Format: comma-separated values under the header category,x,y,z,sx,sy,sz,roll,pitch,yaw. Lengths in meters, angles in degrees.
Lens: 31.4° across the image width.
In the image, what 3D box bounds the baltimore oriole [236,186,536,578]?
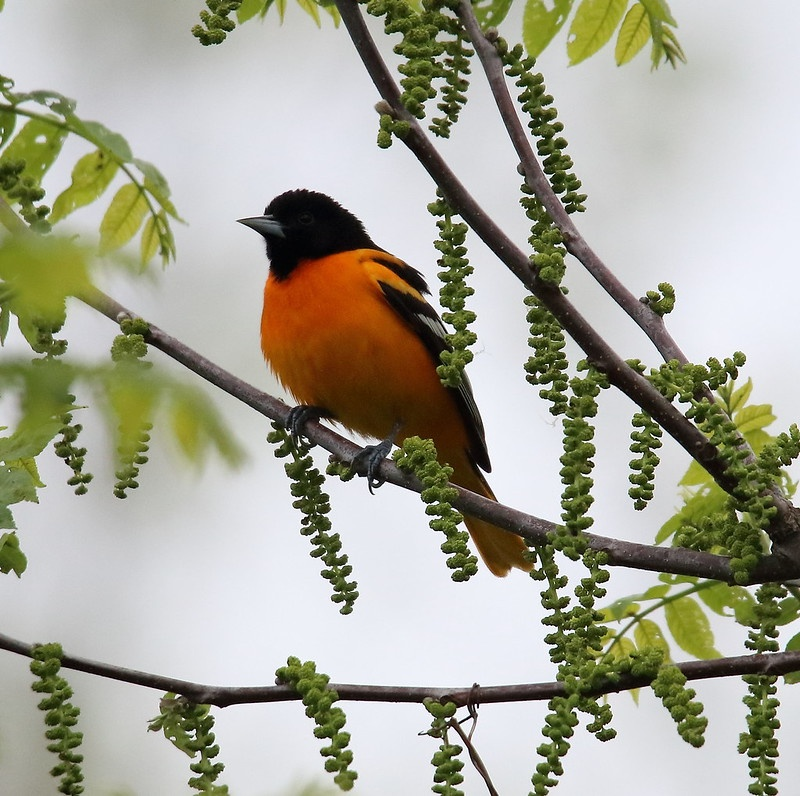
category,x,y,z,sx,sy,sz,roll,pitch,yaw
baltimore oriole,-0.014,-0.095,5.407,1.286,1.042,0.614,24,-30,-32
